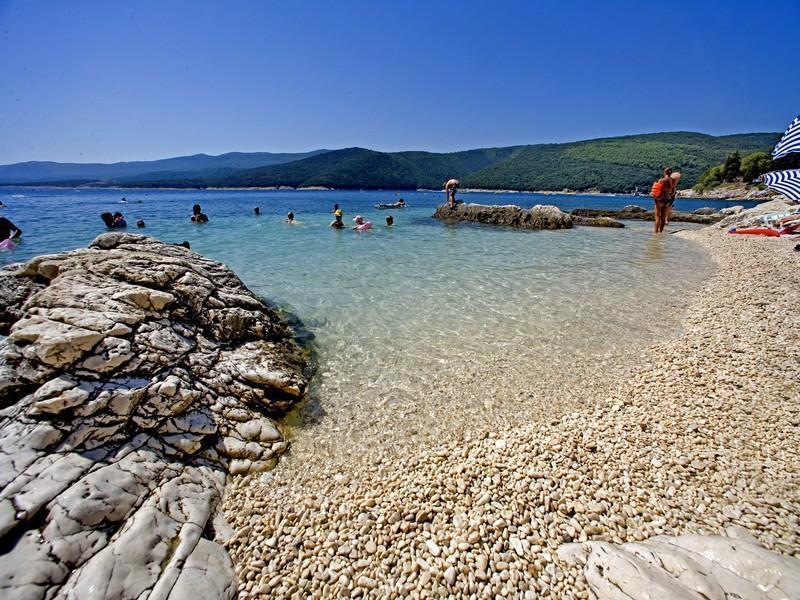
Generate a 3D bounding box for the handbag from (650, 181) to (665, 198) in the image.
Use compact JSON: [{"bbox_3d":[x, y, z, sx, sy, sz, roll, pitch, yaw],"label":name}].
[{"bbox_3d":[13.015,-5.604,25.483,0.520,0.979,1.182,6,22,22],"label":"handbag"}]
